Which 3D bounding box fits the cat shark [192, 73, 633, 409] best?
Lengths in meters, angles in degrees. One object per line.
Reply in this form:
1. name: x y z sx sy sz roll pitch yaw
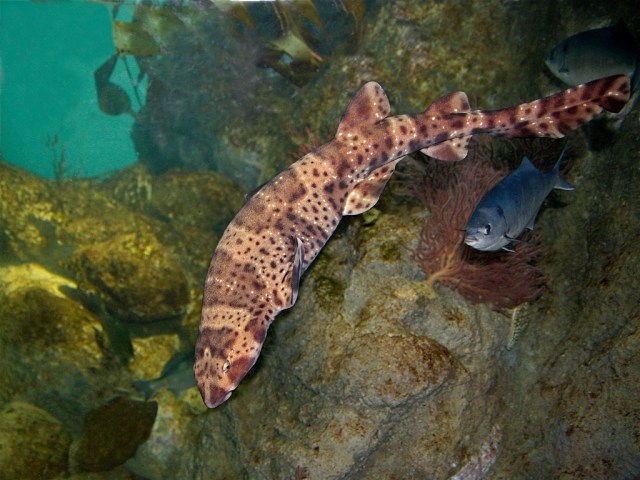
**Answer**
1. cat shark: 0.328 -0.385 9.105 4.355 0.898 1.392 -34 58 -4
